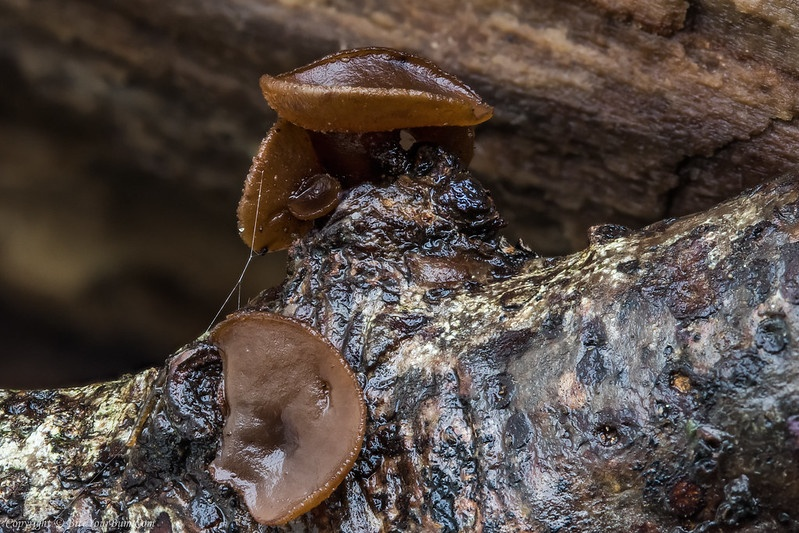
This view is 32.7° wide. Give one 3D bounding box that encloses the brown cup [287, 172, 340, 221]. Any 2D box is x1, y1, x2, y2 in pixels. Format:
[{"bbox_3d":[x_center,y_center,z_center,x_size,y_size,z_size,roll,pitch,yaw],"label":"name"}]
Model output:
[{"bbox_3d":[-0.609,-0.510,9.925,0.333,0.121,0.358,-13,53,18],"label":"brown cup"}]
